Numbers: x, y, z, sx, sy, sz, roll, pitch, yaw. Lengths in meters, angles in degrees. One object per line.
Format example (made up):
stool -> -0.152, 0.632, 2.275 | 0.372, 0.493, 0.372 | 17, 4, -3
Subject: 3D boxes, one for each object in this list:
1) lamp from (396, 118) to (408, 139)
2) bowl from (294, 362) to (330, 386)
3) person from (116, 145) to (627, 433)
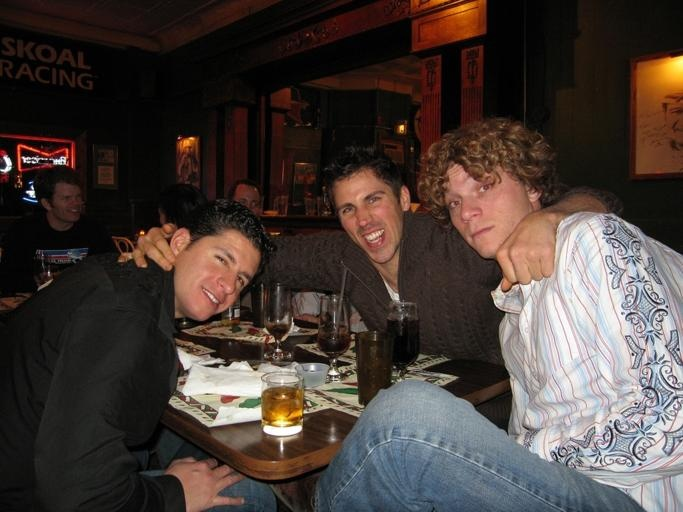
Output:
lamp -> 1.009, -2.198, 9.325 | 0.274, 0.255, 0.284 | 2, 2, 2
bowl -> -0.108, 0.446, 2.134 | 0.113, 0.067, 0.098 | 3, -9, -25
person -> 0.175, 0.137, 2.376 | 0.775, 1.002, 2.077 | 7, 0, -36
